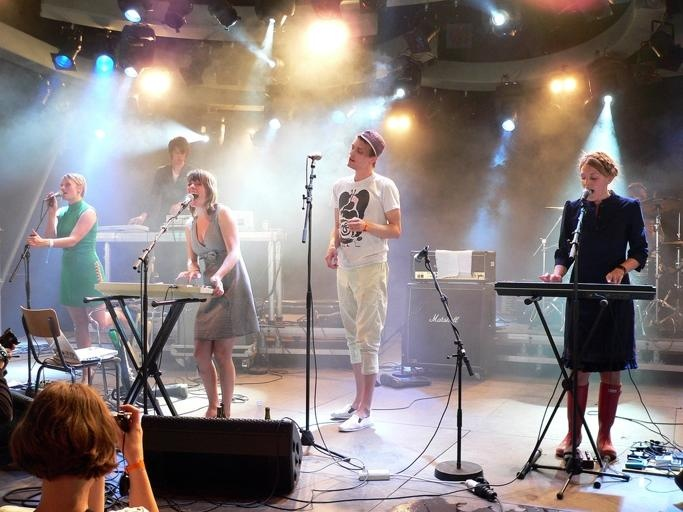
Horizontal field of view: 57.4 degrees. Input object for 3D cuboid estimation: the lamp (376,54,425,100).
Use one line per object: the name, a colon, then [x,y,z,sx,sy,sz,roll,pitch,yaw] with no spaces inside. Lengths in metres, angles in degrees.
lamp: [0.736,-2.092,7.999,0.536,0.862,0.256,6,-27,-3]

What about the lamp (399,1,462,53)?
lamp: [0.991,-2.687,7.422,0.531,0.506,0.650,1,4,8]

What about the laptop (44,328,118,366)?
laptop: [-2.195,0.825,5.304,0.374,0.243,0.385,0,-2,-44]

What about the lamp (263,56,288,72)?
lamp: [-0.844,-2.471,8.083,0.241,0.144,0.124,0,4,-2]

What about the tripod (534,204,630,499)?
tripod: [1.632,0.546,4.382,0.616,1.984,0.963,2,5,20]

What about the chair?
chair: [-2.316,0.973,5.433,0.770,1.016,0.717,3,-3,-40]

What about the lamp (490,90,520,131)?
lamp: [2.412,-2.141,9.158,0.383,0.629,1.193,1,4,14]

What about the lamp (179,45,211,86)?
lamp: [-1.830,-2.416,7.926,0.385,0.396,0.093,0,17,-21]

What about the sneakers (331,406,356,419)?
sneakers: [0.032,1.350,5.430,0.241,0.099,0.086,3,-4,-30]

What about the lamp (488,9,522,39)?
lamp: [1.881,-2.692,7.231,0.337,0.225,0.410,1,4,13]

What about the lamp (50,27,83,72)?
lamp: [-3.236,-2.450,7.390,0.360,0.501,0.279,1,5,9]

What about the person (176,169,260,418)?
person: [-0.989,0.300,4.954,0.686,1.959,0.473,4,6,43]

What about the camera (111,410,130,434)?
camera: [-1.084,0.832,3.126,0.075,0.097,0.036,-2,-5,-11]

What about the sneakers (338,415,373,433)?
sneakers: [0.127,1.383,5.185,0.274,0.103,0.105,4,-7,-43]

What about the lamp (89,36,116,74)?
lamp: [-2.813,-2.395,7.454,0.265,0.397,0.220,-1,5,-15]

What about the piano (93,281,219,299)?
piano: [-1.335,0.255,4.500,0.826,0.152,0.341,2,5,23]

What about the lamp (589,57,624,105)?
lamp: [3.600,-2.402,8.509,0.458,0.312,1.482,2,4,23]
